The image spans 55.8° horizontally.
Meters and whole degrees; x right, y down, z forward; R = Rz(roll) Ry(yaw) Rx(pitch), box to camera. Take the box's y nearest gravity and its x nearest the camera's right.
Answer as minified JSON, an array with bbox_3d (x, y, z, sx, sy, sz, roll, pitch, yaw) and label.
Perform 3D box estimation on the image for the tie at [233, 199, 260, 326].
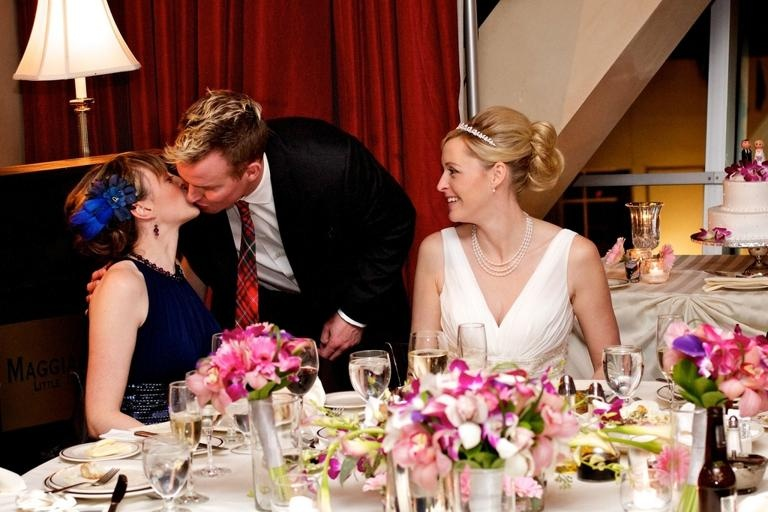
[{"bbox_3d":[-0.627,0.033,3.283,0.099,0.560,0.250,-1,-2,-10],"label":"tie"}]

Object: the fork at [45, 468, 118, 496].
[{"bbox_3d":[-0.803,0.605,1.942,0.119,0.018,0.020,-17,25,-20],"label":"fork"}]

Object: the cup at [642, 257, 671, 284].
[{"bbox_3d":[1.474,0.079,3.945,0.140,0.141,0.144,1,0,0],"label":"cup"}]

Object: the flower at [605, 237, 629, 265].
[{"bbox_3d":[1.367,-0.022,4.359,0.085,0.157,0.157,19,-3,-10],"label":"flower"}]

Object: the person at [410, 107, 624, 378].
[{"bbox_3d":[0.569,0.262,3.281,0.865,1.862,0.454,2,25,11],"label":"person"}]

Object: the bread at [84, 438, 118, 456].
[{"bbox_3d":[-0.810,0.556,2.098,0.045,0.015,0.054,16,12,29],"label":"bread"}]

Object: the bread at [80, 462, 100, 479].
[{"bbox_3d":[-0.797,0.585,1.969,0.049,0.020,0.038,11,30,23],"label":"bread"}]

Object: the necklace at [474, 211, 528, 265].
[{"bbox_3d":[0.504,-0.082,3.093,0.200,0.263,0.019,-5,2,10],"label":"necklace"}]

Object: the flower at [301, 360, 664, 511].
[{"bbox_3d":[0.193,0.390,1.613,0.753,0.328,0.367,-2,-2,19],"label":"flower"}]

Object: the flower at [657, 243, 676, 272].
[{"bbox_3d":[1.561,0.026,4.023,0.065,0.144,0.143,-29,24,44],"label":"flower"}]

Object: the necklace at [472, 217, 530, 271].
[{"bbox_3d":[0.507,-0.051,3.105,0.209,0.284,0.019,-2,2,10],"label":"necklace"}]

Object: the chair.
[{"bbox_3d":[-0.992,0.523,2.856,0.462,0.340,0.335,0,3,4],"label":"chair"}]

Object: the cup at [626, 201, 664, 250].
[{"bbox_3d":[1.532,-0.178,4.272,0.173,0.283,0.312,-2,-2,20],"label":"cup"}]

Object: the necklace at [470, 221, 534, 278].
[{"bbox_3d":[0.512,-0.028,3.109,0.221,0.292,0.020,-2,3,11],"label":"necklace"}]
